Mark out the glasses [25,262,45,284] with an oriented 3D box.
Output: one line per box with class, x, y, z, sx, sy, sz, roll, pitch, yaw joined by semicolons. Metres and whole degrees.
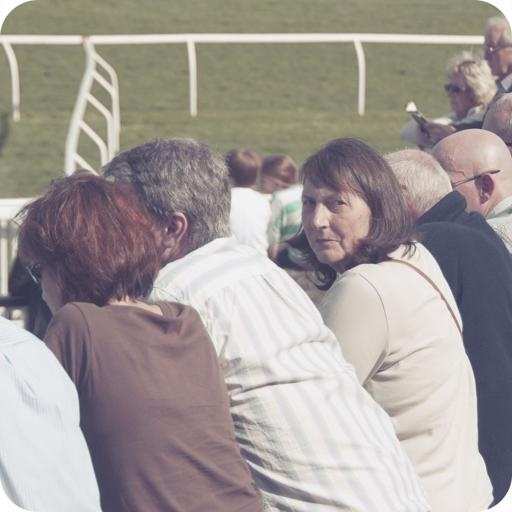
glasses;-2.185;0.167;19.763;0.131;0.243;0.118;-19;2;43
